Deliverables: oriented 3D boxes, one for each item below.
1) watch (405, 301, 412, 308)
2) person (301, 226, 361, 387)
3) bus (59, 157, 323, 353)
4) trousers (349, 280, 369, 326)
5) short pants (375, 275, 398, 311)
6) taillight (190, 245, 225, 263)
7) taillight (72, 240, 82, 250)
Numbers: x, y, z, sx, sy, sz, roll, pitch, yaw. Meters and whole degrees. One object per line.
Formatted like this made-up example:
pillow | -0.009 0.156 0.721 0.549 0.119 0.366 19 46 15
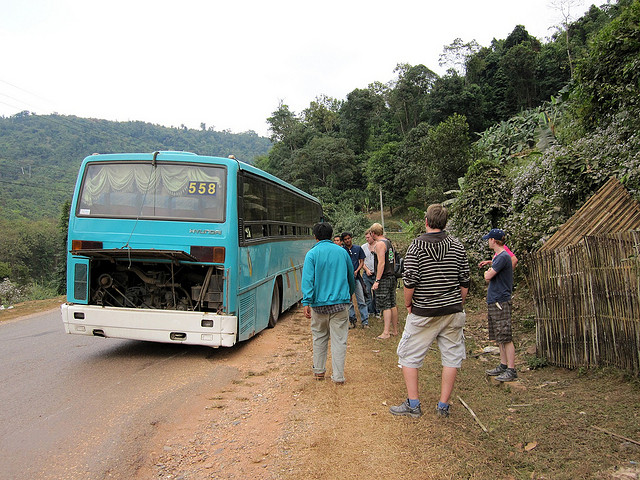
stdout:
watch | 1.110 0.796 5.401 0.055 0.102 0.093 -9 11 -34
person | 0.140 0.972 6.377 0.721 2.341 0.478 -2 10 4
bus | -2.300 0.156 12.272 3.299 3.856 9.929 2 3 9
trousers | 0.888 1.473 9.911 0.427 1.086 1.081 -2 10 5
short pants | 1.323 1.064 8.643 0.442 0.691 0.329 -4 10 -4
taillight | -1.929 0.239 7.468 0.589 0.311 0.081 -2 10 6
taillight | -4.255 0.079 7.623 0.145 0.157 0.035 1 2 -4
